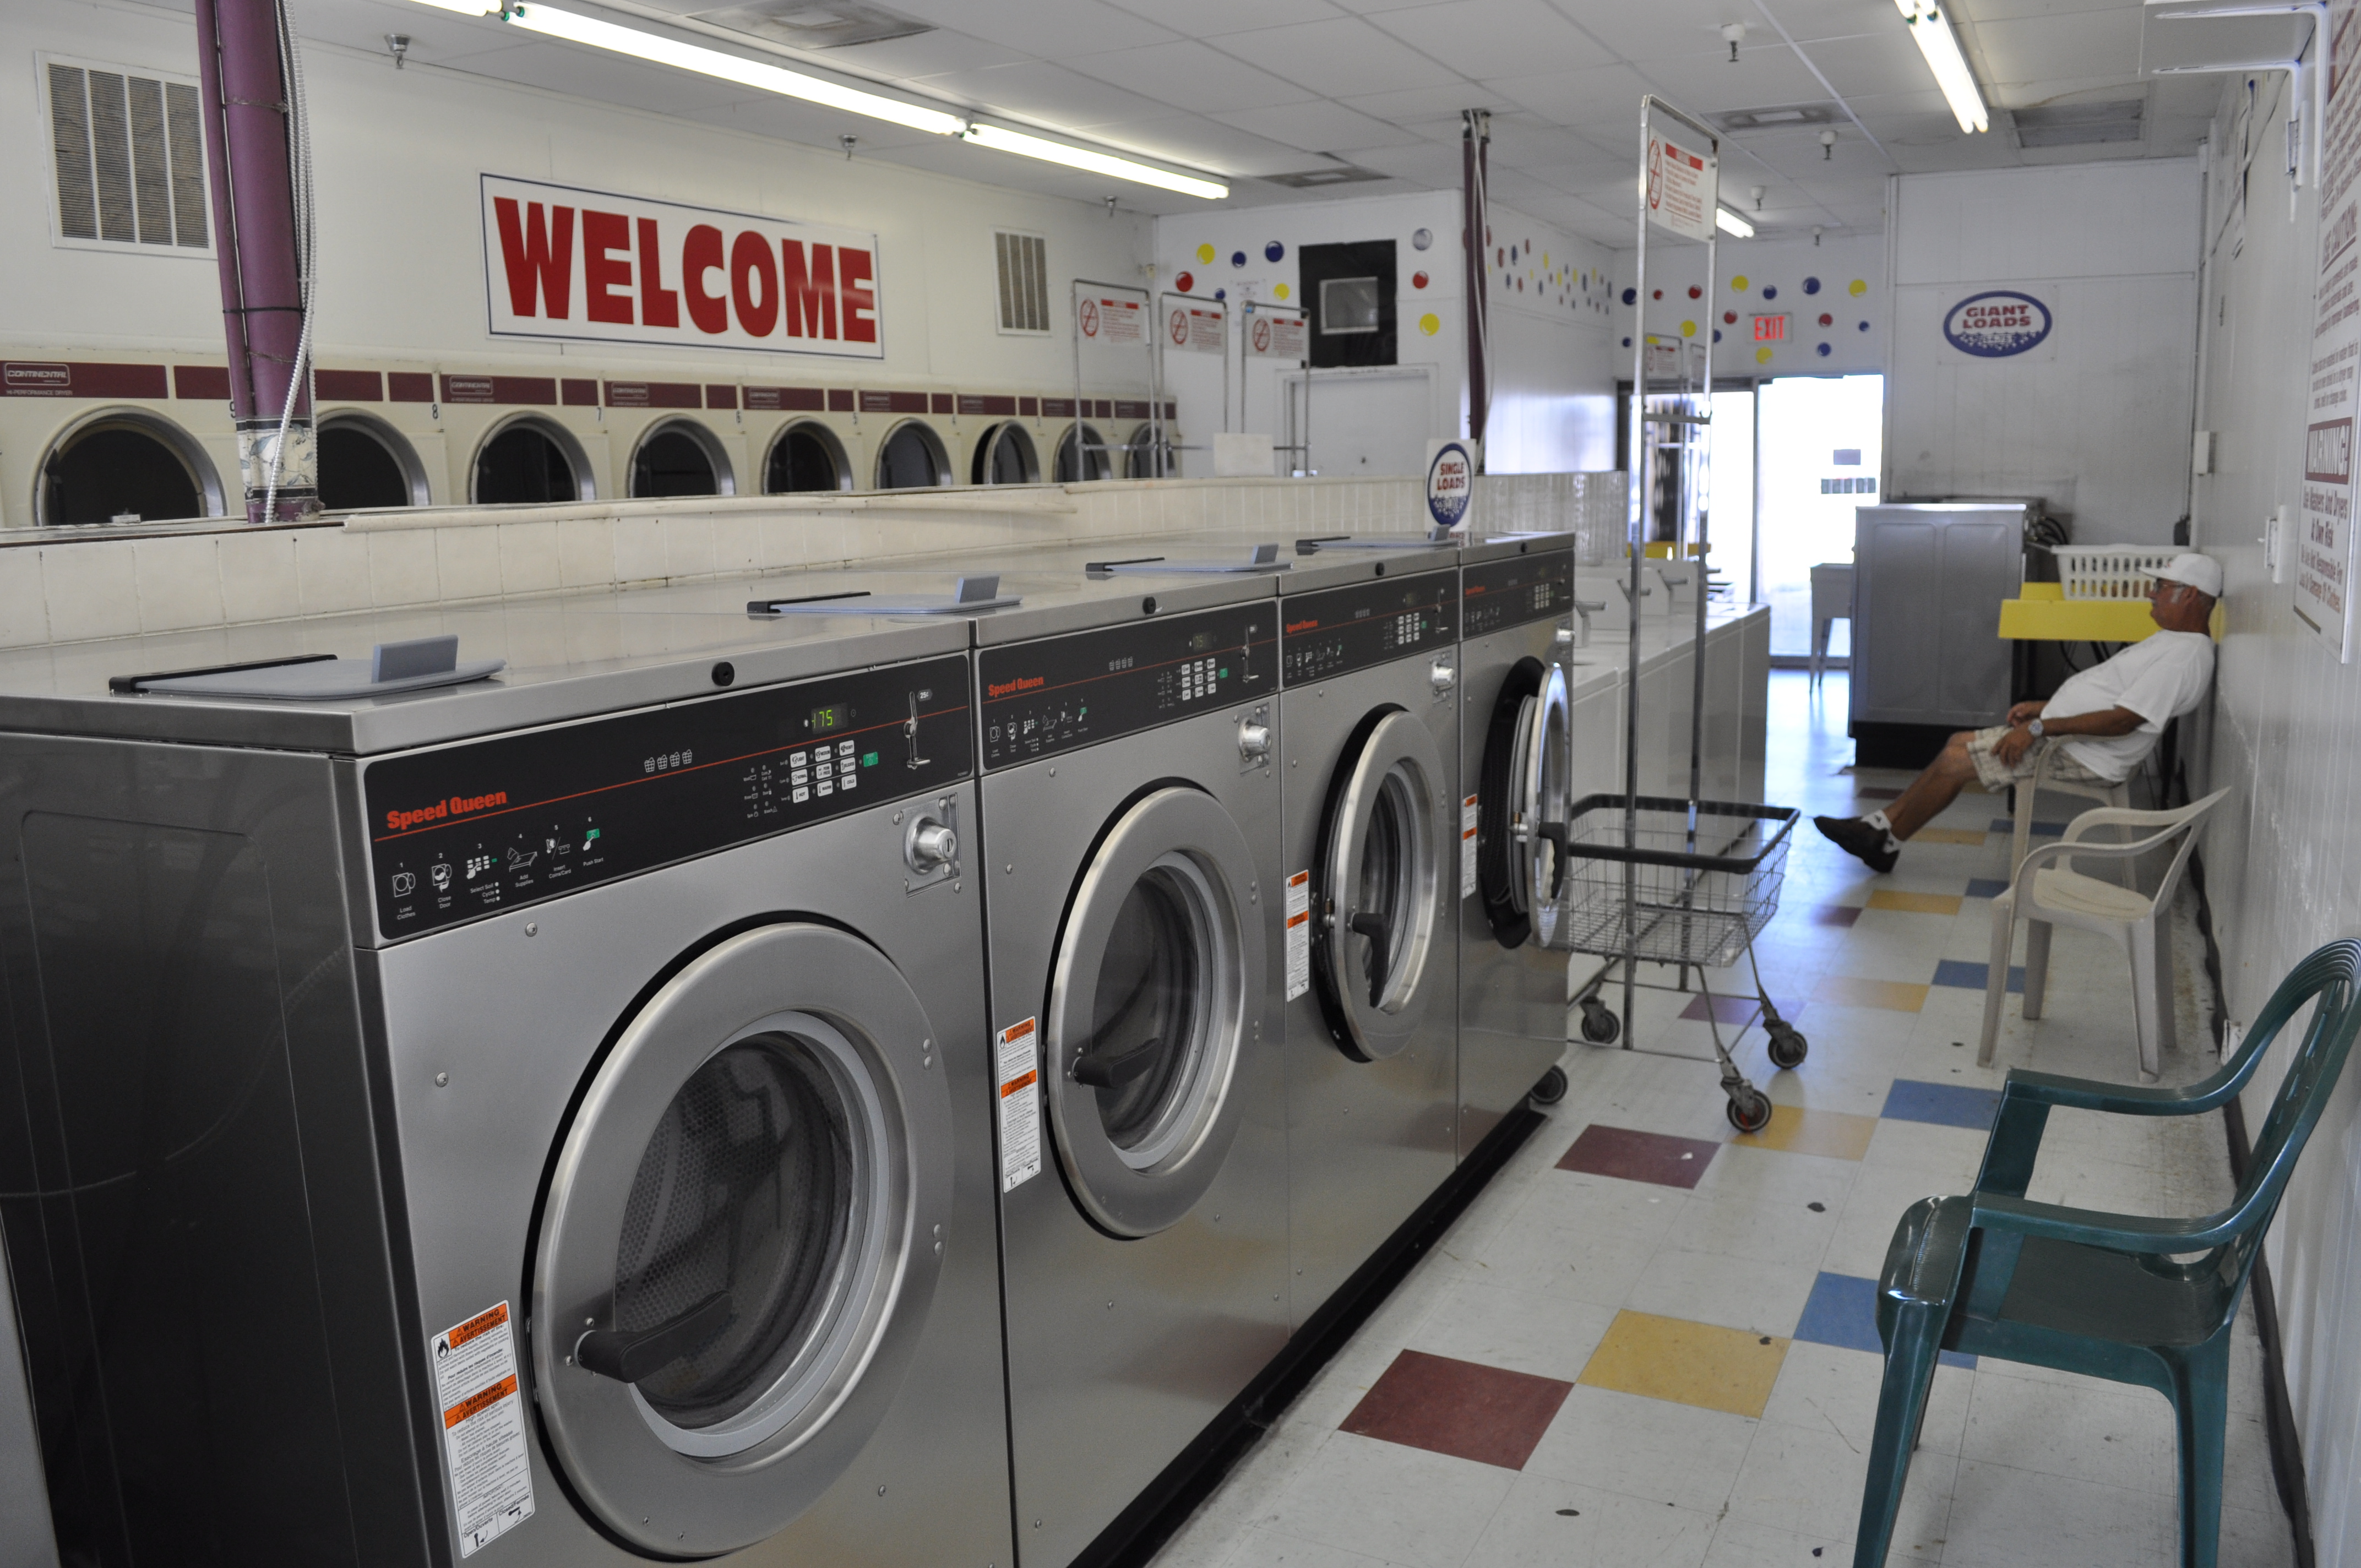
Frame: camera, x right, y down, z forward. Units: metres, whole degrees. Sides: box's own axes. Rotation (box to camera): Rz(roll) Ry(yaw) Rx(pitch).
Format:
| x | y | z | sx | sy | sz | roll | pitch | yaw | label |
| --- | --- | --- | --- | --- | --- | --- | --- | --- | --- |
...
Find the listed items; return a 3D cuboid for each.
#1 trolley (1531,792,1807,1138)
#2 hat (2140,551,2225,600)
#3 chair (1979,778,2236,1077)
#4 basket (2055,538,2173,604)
| x | y | z | sx | sy | sz | roll | pitch | yaw | label |
| --- | --- | --- | --- | --- | --- | --- | --- | --- | --- |
| 1.509 | 0.535 | 4.860 | 0.977 | 0.818 | 0.820 | -1 | 4 | 43 | trolley |
| 3.930 | -0.822 | 5.988 | 0.185 | 0.144 | 0.256 | 2 | 16 | -46 | hat |
| 3.160 | 0.517 | 5.176 | 0.666 | 0.965 | 0.698 | 4 | 13 | 30 | chair |
| 4.784 | -1.078 | 7.833 | 0.641 | 0.309 | 0.427 | 1 | 5 | 23 | basket |
